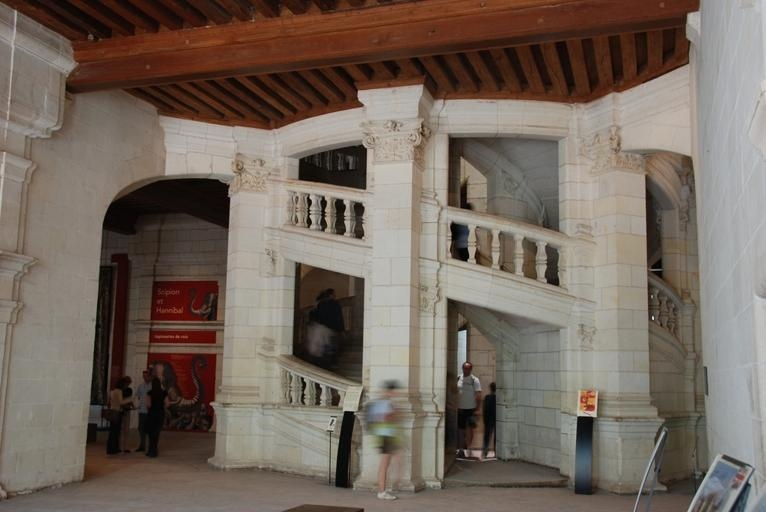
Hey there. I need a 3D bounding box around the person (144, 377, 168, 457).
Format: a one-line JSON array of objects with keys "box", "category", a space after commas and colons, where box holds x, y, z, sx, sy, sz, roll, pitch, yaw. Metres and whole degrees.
[{"box": [-4.022, 2.780, 14.641, 0.313, 1.352, 0.905, 7, -12, -13], "category": "person"}]

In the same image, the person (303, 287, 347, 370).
[{"box": [-1.183, 1.495, 16.535, 0.913, 1.378, 0.440, -2, -13, 28], "category": "person"}]

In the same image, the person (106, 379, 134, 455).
[{"box": [-4.681, 2.784, 14.779, 0.399, 1.340, 0.807, 7, -12, -15], "category": "person"}]

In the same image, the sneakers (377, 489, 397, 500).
[{"box": [0.050, 3.207, 11.310, 0.228, 0.092, 0.136, 1, -7, 4], "category": "sneakers"}]

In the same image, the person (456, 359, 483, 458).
[{"box": [1.487, 2.687, 14.718, 0.414, 1.618, 1.470, 3, -11, 6], "category": "person"}]

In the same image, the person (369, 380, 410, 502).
[{"box": [0.016, 2.476, 11.489, 0.490, 1.602, 0.876, 4, -12, 2], "category": "person"}]
